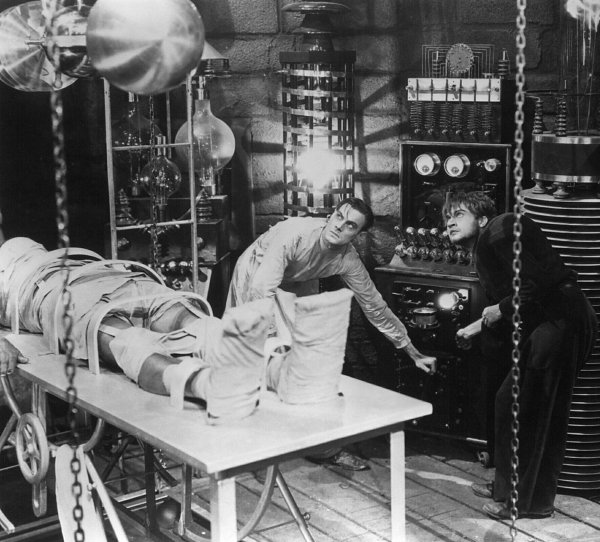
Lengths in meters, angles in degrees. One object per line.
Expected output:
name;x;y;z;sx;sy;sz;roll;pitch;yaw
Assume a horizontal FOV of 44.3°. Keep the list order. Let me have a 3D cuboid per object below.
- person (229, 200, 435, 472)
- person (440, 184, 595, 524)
person;0.087;0.335;4.900;0.898;1.614;1.074;-4;14;-17
person;1.267;0.417;4.524;0.680;1.858;1.211;-1;7;-9
